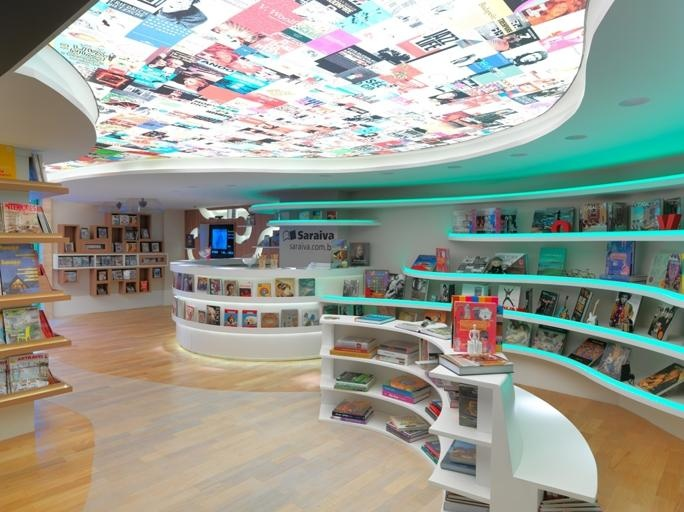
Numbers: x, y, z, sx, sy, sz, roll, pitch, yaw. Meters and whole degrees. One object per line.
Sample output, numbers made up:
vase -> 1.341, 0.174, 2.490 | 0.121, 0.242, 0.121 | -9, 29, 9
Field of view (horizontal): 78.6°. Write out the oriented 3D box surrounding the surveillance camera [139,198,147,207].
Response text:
surveillance camera -> -4.541, -1.233, 9.522 | 0.241, 0.188, 0.069 | 1, 4, 2
